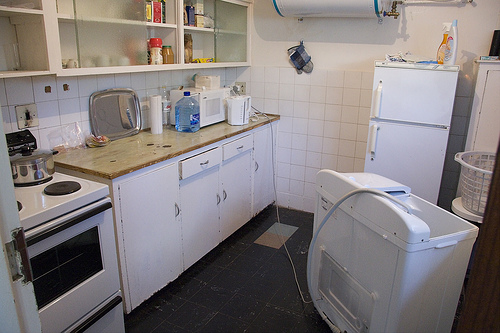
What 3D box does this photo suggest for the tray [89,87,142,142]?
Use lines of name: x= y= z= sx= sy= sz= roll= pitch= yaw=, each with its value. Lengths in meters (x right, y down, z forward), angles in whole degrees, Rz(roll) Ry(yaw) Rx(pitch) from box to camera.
tray: x=-1.175 y=-0.456 z=3.033 sx=0.045 sy=0.459 sz=0.478 roll=12 pitch=25 yaw=37

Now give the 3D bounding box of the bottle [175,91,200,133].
bottle: x=-0.648 y=-0.552 z=3.451 sx=0.284 sy=0.410 sz=0.250 roll=0 pitch=11 yaw=-8

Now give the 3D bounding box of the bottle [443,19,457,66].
bottle: x=1.725 y=-1.067 z=2.967 sx=0.082 sy=0.358 sz=0.192 roll=8 pitch=20 yaw=27

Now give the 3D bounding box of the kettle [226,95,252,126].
kettle: x=-0.128 y=-0.584 z=3.595 sx=0.334 sy=0.340 sz=0.199 roll=-1 pitch=22 yaw=-7

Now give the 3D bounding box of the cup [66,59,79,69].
cup: x=-1.329 y=-0.769 z=2.579 sx=0.079 sy=0.058 sz=0.063 roll=-12 pitch=26 yaw=-34

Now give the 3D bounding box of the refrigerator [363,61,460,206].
refrigerator: x=1.432 y=-0.406 z=3.384 sx=0.769 sy=1.308 sz=0.791 roll=6 pitch=20 yaw=7

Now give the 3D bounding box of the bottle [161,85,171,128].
bottle: x=-0.839 y=-0.599 z=3.422 sx=0.090 sy=0.388 sz=0.227 roll=-5 pitch=18 yaw=-12

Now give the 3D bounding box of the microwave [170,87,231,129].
microwave: x=-0.473 y=-0.643 z=3.622 sx=0.344 sy=0.337 sz=0.537 roll=13 pitch=22 yaw=26
